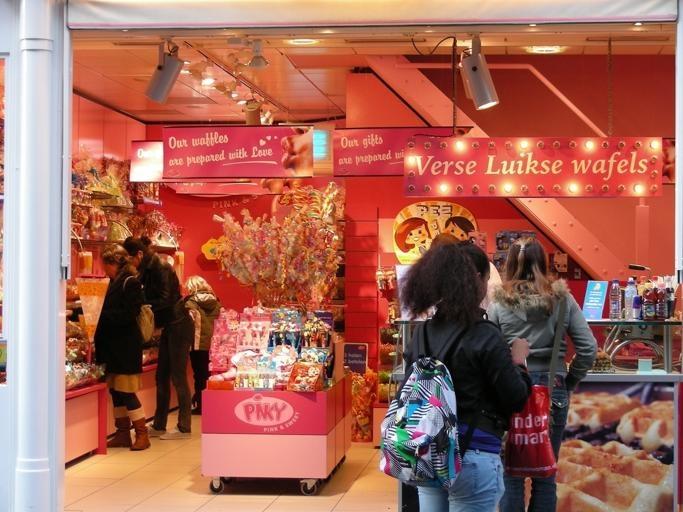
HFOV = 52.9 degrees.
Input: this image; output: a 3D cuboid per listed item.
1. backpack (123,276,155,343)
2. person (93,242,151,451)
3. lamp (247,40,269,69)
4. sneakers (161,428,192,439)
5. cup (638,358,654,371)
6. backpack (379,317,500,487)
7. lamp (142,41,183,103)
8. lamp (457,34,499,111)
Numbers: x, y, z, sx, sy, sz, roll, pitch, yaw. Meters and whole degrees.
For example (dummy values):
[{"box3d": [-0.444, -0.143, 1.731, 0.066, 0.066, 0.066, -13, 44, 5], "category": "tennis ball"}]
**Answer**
[{"box3d": [-2.170, 0.534, 7.309, 0.366, 0.711, 0.528, -8, 13, -30], "category": "backpack"}, {"box3d": [-2.177, 0.923, 6.832, 0.522, 2.005, 0.487, 0, 1, -27], "category": "person"}, {"box3d": [-0.663, -1.608, 5.478, 0.133, 0.207, 0.404, 0, 1, -7], "category": "lamp"}, {"box3d": [-1.716, 1.867, 7.239, 0.308, 0.135, 0.109, 4, -7, -5], "category": "sneakers"}, {"box3d": [2.095, 0.754, 4.743, 0.094, 0.086, 0.082, 1, 1, 10], "category": "cup"}, {"box3d": [0.415, 0.703, 3.239, 0.413, 0.701, 0.381, -1, -1, -38], "category": "backpack"}, {"box3d": [-1.360, -1.459, 5.301, 0.276, 0.527, 0.684, 0, 1, -15], "category": "lamp"}, {"box3d": [1.086, -1.488, 5.414, 0.286, 0.545, 0.735, 1, 1, 11], "category": "lamp"}]
